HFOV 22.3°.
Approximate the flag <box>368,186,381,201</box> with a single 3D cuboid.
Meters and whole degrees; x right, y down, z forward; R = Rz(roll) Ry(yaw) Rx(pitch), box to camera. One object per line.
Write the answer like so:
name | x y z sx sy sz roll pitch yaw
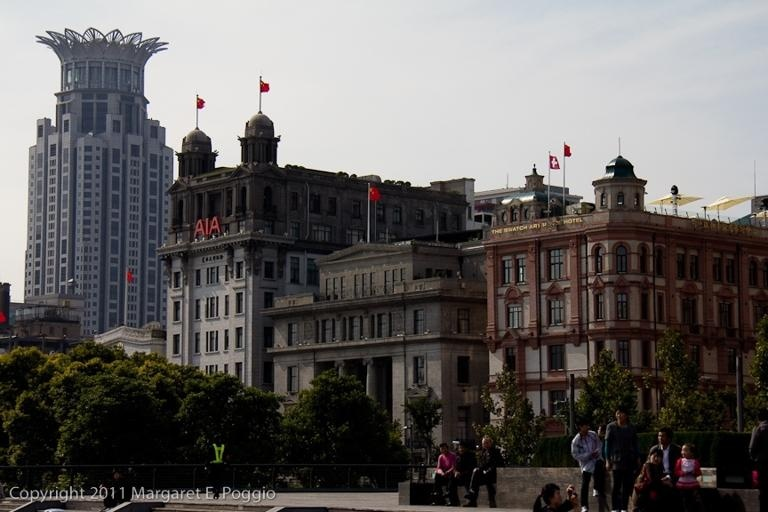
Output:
flag | -0.945 -7.992 234.215 1.396 1.786 0.439 -6 -14 25
